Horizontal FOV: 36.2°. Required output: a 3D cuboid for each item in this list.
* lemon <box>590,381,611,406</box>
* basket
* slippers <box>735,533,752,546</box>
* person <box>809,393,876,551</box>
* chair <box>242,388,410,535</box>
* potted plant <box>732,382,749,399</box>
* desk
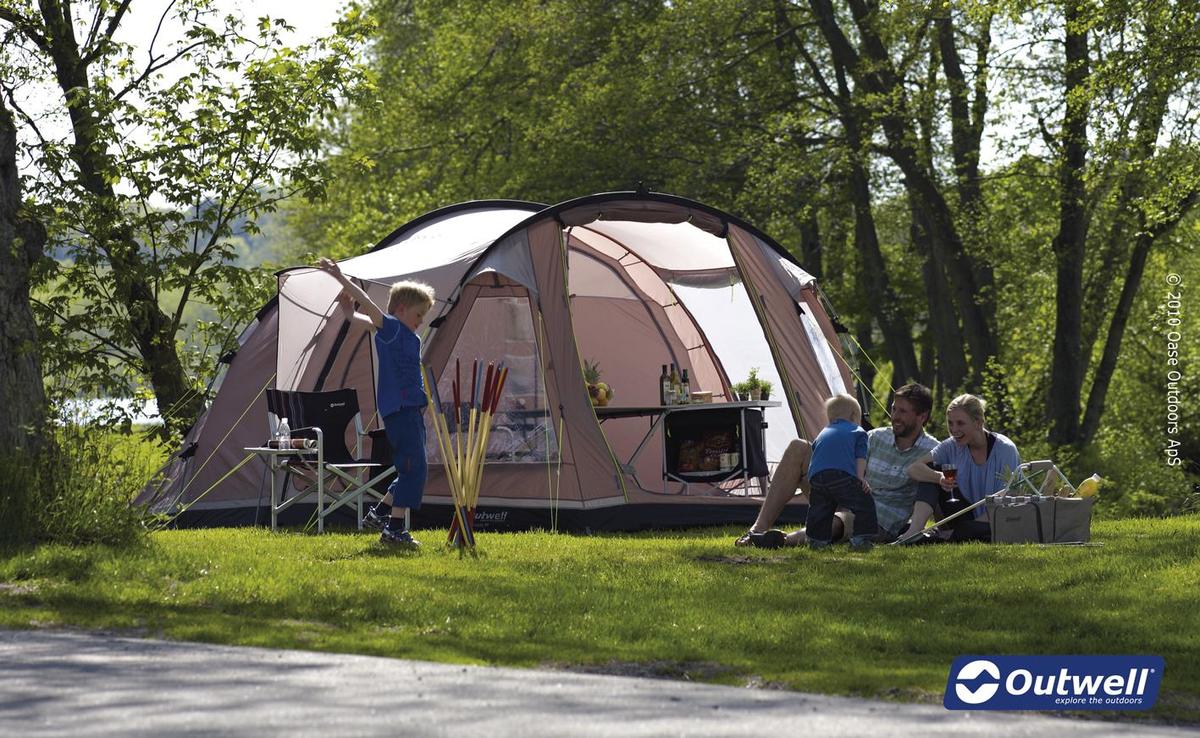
[{"bbox_3d":[-0.062,0.325,25.658,0.336,0.301,0.131,7,-15,-34],"label":"lemon"},{"bbox_3d":[5.320,1.635,22.788,1.298,1.019,0.938,-1,2,4],"label":"basket"},{"bbox_3d":[1.746,2.108,22.806,0.173,0.079,0.234,0,-3,-5],"label":"slippers"},{"bbox_3d":[2.900,1.241,22.698,0.861,1.893,0.446,-2,-9,7],"label":"person"},{"bbox_3d":[-3.633,1.182,24.447,1.644,2.100,1.499,-3,-6,36],"label":"chair"},{"bbox_3d":[1.979,0.295,26.209,0.224,0.209,0.223,1,2,43],"label":"potted plant"},{"bbox_3d":[0.131,1.213,24.788,1.570,0.775,1.542,-1,1,-42],"label":"desk"}]
